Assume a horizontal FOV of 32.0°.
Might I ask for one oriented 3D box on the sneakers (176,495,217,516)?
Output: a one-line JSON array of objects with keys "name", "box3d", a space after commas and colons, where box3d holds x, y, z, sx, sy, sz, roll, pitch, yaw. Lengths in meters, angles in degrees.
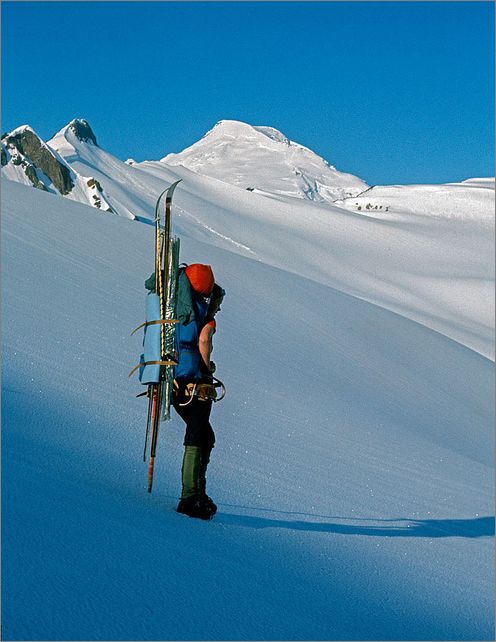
[{"name": "sneakers", "box3d": [-0.316, 1.120, 5.218, 0.208, 0.122, 0.113, 0, -4, 8]}]
